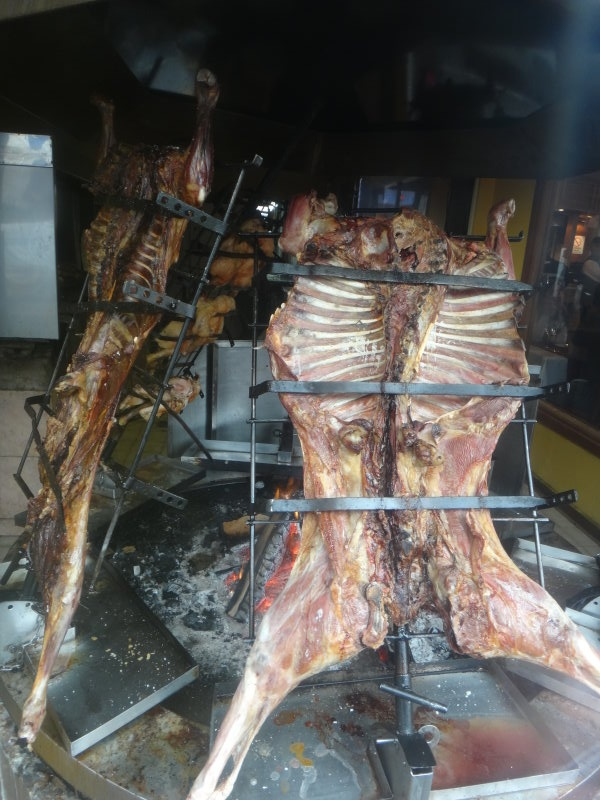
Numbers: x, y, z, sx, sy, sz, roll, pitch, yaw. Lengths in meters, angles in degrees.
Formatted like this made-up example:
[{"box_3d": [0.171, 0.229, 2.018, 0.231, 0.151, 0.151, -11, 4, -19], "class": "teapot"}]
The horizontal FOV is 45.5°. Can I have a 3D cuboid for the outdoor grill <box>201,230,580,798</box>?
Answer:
[{"box_3d": [0.366, 0.330, 2.763, 1.170, 1.780, 0.880, 10, 5, -9], "class": "outdoor grill"}]
